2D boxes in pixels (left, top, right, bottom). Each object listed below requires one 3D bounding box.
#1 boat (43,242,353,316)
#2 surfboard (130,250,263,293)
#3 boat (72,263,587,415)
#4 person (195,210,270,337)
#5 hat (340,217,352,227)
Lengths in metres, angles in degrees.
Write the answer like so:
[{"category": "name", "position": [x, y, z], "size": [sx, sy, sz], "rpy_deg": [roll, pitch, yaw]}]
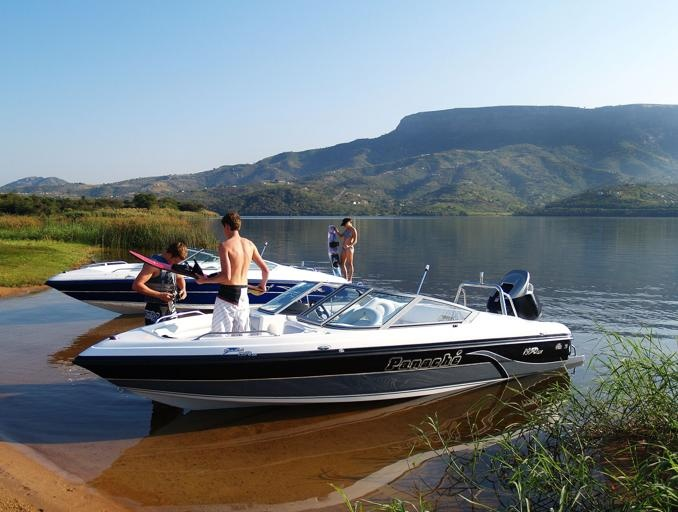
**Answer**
[{"category": "boat", "position": [-4.484, 0.697, 12.718], "size": [9.206, 1.743, 2.170], "rpy_deg": [2, -2, -10]}, {"category": "surfboard", "position": [-2.108, 0.240, 7.644], "size": [2.047, 0.319, 0.337], "rpy_deg": [12, 14, 2]}, {"category": "boat", "position": [-0.486, 1.185, 8.358], "size": [8.860, 1.614, 2.357], "rpy_deg": [1, -4, -14]}, {"category": "person", "position": [-1.482, 0.238, 7.530], "size": [0.902, 1.754, 0.921], "rpy_deg": [1, 13, -7]}, {"category": "hat", "position": [0.233, -0.997, 15.245], "size": [0.428, 0.139, 0.518], "rpy_deg": [-15, 2, 8]}]
